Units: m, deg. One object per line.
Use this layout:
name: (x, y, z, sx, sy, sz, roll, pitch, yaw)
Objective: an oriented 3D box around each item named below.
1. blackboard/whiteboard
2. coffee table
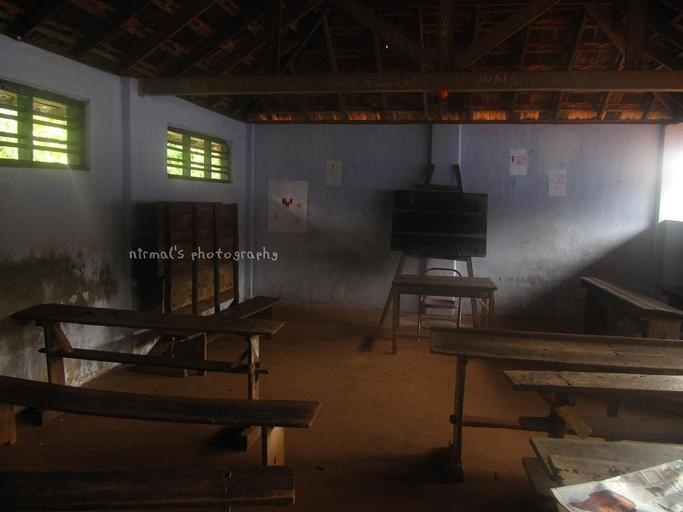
blackboard/whiteboard: (1.465, -0.508, 8.248, 1.747, 1.189, 0.928, 2, 6, 3)
coffee table: (1.307, 0.512, 7.000, 1.488, 1.093, 0.959, 0, 1, 6)
